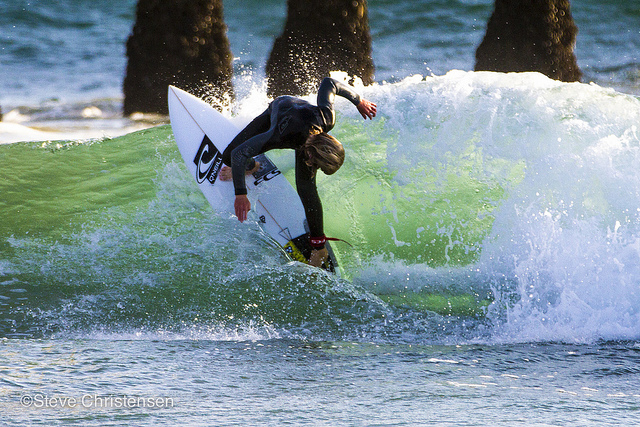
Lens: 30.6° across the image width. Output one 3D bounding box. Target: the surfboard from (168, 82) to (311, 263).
[{"bbox_3d":[-1.395,-0.744,17.622,1.006,0.351,4.197,-31,-18,0],"label":"surfboard"}]
